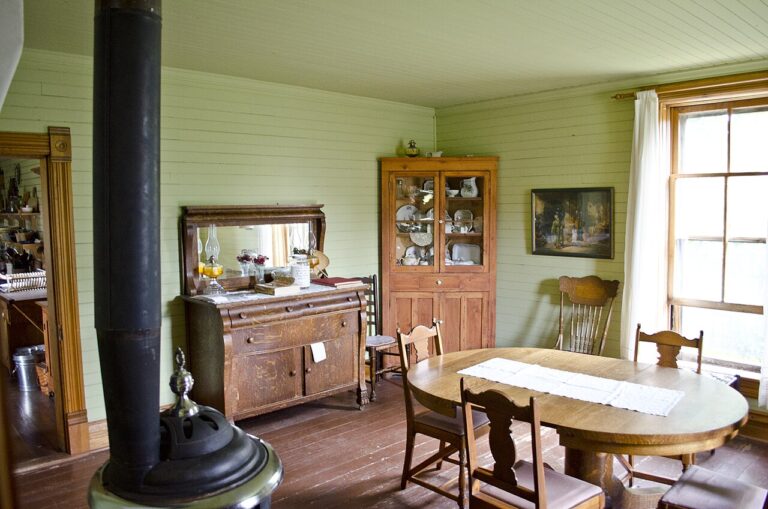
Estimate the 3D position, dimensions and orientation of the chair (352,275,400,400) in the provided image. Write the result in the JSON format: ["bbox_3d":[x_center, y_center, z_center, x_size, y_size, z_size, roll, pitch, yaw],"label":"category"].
[{"bbox_3d":[0.043,0.989,6.686,0.752,1.477,0.640,6,-5,-22],"label":"chair"}]

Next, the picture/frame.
[{"bbox_3d":[2.301,-0.385,6.391,0.995,0.831,0.047,0,8,41],"label":"picture/frame"}]

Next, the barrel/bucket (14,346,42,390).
[{"bbox_3d":[-4.397,1.417,6.644,0.310,0.463,0.434,-7,15,-33],"label":"barrel/bucket"}]

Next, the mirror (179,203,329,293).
[{"bbox_3d":[-1.380,-0.087,5.972,1.763,0.938,0.225,-7,8,-43],"label":"mirror"}]

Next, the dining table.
[{"bbox_3d":[1.729,1.073,3.782,1.465,0.624,1.925,-6,5,-44],"label":"dining table"}]

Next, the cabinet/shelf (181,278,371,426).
[{"bbox_3d":[-1.183,1.096,5.925,1.832,1.163,0.963,-2,-1,-45],"label":"cabinet/shelf"}]
